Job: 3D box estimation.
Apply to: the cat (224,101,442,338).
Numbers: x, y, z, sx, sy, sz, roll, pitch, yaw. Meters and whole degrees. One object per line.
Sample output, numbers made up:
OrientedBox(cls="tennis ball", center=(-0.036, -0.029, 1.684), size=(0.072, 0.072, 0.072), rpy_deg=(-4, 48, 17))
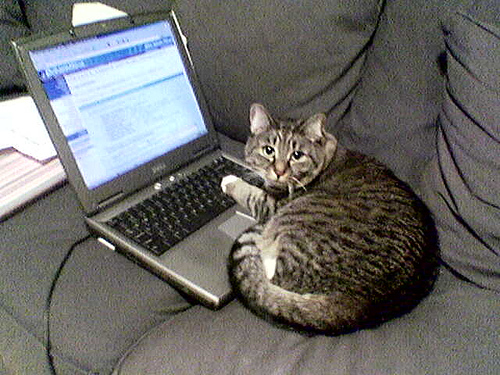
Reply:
OrientedBox(cls="cat", center=(0.213, 0.063, 1.447), size=(0.587, 0.294, 0.813), rpy_deg=(-1, 36, -8))

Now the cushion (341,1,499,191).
OrientedBox(cls="cushion", center=(0.506, -0.258, 1.336), size=(0.106, 0.443, 0.395), rpy_deg=(-3, 30, -34))
